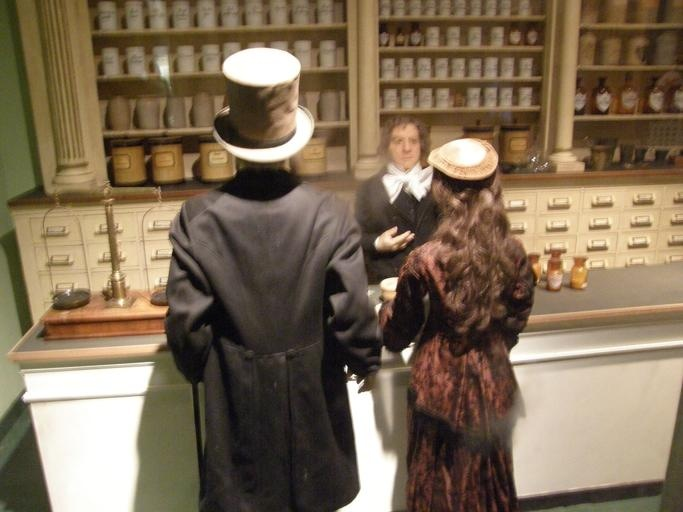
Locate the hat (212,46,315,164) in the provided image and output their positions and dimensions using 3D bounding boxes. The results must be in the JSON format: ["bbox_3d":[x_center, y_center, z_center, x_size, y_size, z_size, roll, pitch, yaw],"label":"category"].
[{"bbox_3d":[-0.216,-0.471,1.963,0.354,0.239,0.381,3,39,4],"label":"hat"}]

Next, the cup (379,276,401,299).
[{"bbox_3d":[0.208,0.137,2.420,0.084,0.043,0.110,-1,9,0],"label":"cup"}]

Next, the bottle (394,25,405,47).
[{"bbox_3d":[0.310,-1.146,2.999,0.055,0.101,0.020,2,13,15],"label":"bottle"}]

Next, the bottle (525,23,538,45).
[{"bbox_3d":[1.000,-1.152,2.994,0.070,0.102,0.016,-3,13,-9],"label":"bottle"}]

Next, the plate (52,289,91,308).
[{"bbox_3d":[-1.149,0.186,2.435,0.149,0.060,0.112,-6,14,-20],"label":"plate"}]

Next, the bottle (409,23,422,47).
[{"bbox_3d":[0.383,-1.133,2.943,0.018,0.110,0.083,-13,18,-43],"label":"bottle"}]

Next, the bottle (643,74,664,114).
[{"bbox_3d":[1.677,-0.845,3.074,0.036,0.161,0.107,-6,11,-26],"label":"bottle"}]

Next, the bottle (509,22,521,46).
[{"bbox_3d":[0.915,-1.153,2.993,0.066,0.101,0.023,-2,13,-7],"label":"bottle"}]

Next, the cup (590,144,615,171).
[{"bbox_3d":[1.568,-0.601,3.475,0.133,0.173,0.144,-1,15,0],"label":"cup"}]
